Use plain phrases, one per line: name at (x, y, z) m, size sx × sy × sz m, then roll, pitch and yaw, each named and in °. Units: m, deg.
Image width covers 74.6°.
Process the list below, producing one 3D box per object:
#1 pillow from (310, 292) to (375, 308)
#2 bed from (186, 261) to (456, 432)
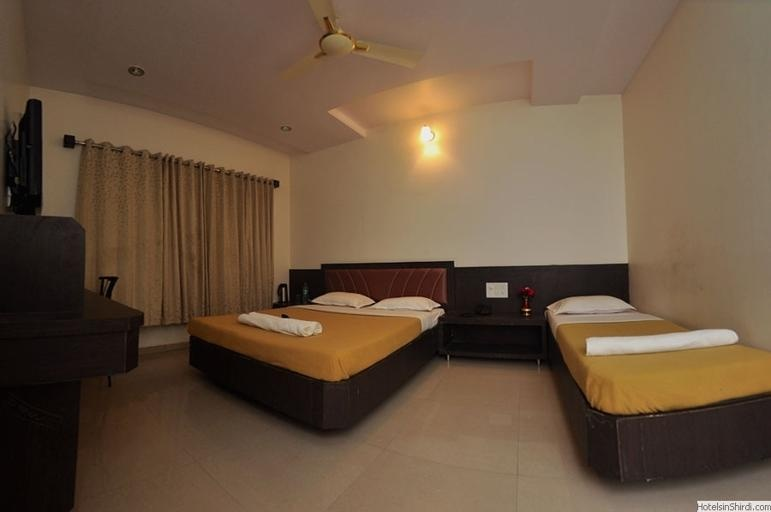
pillow at (-0.544, 0.550, 6.234) m, size 0.483 × 0.106 × 0.291 m, roll -1°, pitch 0°, yaw 43°
bed at (-0.829, 0.738, 5.657) m, size 2.772 × 0.974 × 2.663 m, roll 2°, pitch 10°, yaw 32°
